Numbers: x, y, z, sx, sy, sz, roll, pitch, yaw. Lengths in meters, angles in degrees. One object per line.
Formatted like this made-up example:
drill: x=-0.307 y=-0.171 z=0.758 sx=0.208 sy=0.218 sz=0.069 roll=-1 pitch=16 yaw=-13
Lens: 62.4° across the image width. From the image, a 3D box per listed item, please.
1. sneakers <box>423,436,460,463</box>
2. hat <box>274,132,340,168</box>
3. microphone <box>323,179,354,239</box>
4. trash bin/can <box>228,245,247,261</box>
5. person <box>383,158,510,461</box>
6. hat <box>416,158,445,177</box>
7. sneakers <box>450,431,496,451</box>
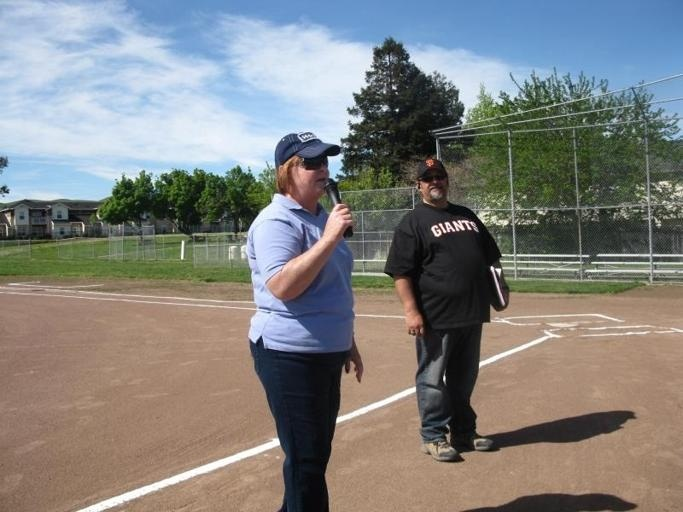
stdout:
sneakers: x=0.850 y=1.646 z=4.770 sx=0.143 sy=0.139 sz=0.297 roll=5 pitch=-11 yaw=-36
hat: x=-0.250 y=-0.692 z=3.554 sx=0.405 sy=0.201 sz=0.270 roll=-5 pitch=14 yaw=30
microphone: x=-0.020 y=-0.331 z=3.514 sx=0.115 sy=0.465 sz=0.114 roll=-9 pitch=-34 yaw=-16
trash bin/can: x=-4.965 y=-0.124 z=26.825 sx=0.827 sy=0.794 sz=0.468 roll=0 pitch=-5 yaw=-3
person: x=0.900 y=0.428 z=4.888 sx=1.013 sy=2.554 sz=0.635 roll=-2 pitch=5 yaw=3
hat: x=0.789 y=-0.798 z=5.072 sx=0.232 sy=0.175 sz=0.385 roll=-2 pitch=-6 yaw=2
sneakers: x=1.151 y=1.615 z=4.950 sx=0.374 sy=0.168 sz=0.144 roll=-8 pitch=-8 yaw=33
